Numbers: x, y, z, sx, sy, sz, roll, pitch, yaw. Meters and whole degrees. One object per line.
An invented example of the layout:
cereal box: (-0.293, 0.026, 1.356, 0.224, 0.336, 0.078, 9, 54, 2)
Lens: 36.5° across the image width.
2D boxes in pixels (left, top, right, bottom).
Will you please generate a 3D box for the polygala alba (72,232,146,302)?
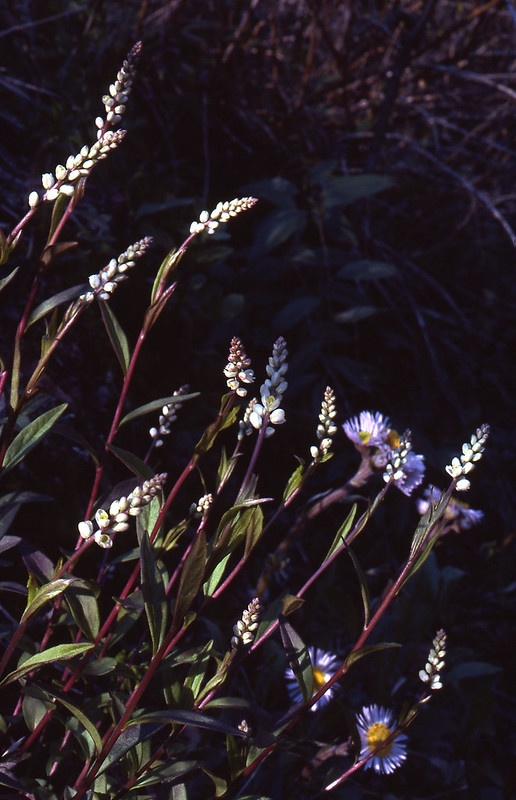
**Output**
polygala alba: (-0.109, -0.102, 0.592, 0.045, 0.060, 0.102, 5, 26, -13)

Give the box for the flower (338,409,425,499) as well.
flower: (0.113, 0.043, 0.728, 0.082, 0.036, 0.080, 46, 13, 12)
